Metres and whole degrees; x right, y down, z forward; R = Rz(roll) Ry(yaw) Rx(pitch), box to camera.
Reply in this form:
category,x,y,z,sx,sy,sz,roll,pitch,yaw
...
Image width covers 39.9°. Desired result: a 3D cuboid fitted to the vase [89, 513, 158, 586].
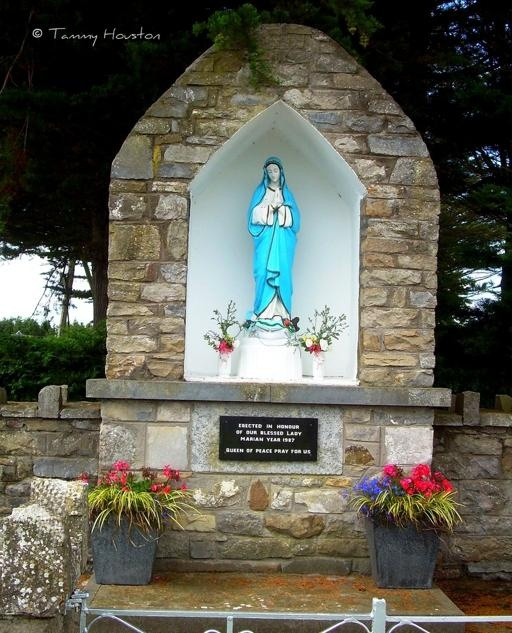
category,x,y,z,sx,sy,sz,roll,pitch,yaw
vase,-0.756,1.457,4.412,0.508,0.332,0.368,2,-6,-5

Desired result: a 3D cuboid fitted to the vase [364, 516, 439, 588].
category,x,y,z,sx,sy,sz,roll,pitch,yaw
vase,0.978,1.506,4.507,0.439,0.442,0.462,-6,-22,26

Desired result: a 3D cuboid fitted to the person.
category,x,y,z,sx,sy,sz,roll,pitch,yaw
person,0.130,-0.558,5.527,0.396,1.364,0.184,3,-7,-2

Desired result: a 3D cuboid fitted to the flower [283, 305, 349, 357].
category,x,y,z,sx,sy,sz,roll,pitch,yaw
flower,0.509,0.126,5.424,0.478,0.216,0.436,-4,14,-35

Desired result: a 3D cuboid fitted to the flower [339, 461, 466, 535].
category,x,y,z,sx,sy,sz,roll,pitch,yaw
flower,1.025,1.092,4.544,0.606,0.284,0.589,-4,-10,35
